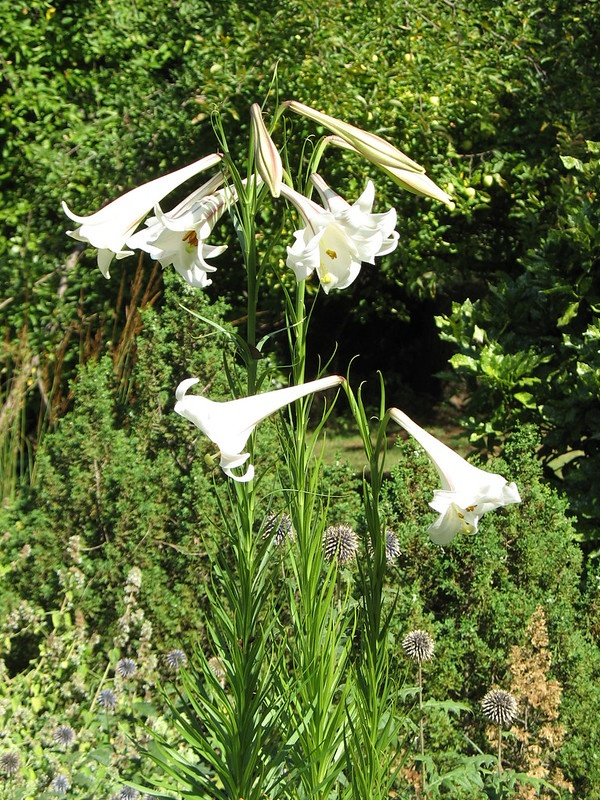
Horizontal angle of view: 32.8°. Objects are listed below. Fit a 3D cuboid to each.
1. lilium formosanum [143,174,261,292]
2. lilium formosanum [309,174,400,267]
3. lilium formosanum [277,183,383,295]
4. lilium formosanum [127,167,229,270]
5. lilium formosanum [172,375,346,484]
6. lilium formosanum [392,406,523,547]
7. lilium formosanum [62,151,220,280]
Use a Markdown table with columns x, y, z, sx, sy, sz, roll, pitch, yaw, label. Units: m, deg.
| x | y | z | sx | sy | sz | roll | pitch | yaw | label |
| --- | --- | --- | --- | --- | --- | --- | --- | --- | --- |
| -0.339 | -0.437 | 2.994 | 0.205 | 0.145 | 0.271 | 18 | -19 | -21 | lilium formosanum |
| 0.135 | -0.514 | 2.900 | 0.208 | 0.188 | 0.269 | -37 | 71 | -12 | lilium formosanum |
| 0.110 | -0.425 | 2.791 | 0.173 | 0.121 | 0.231 | -6 | 12 | 34 | lilium formosanum |
| -0.317 | -0.455 | 2.878 | 0.221 | 0.194 | 0.311 | 25 | -2 | -18 | lilium formosanum |
| -0.118 | 0.020 | 2.793 | 0.445 | 0.214 | 0.266 | -18 | 41 | -27 | lilium formosanum |
| 0.401 | 0.231 | 2.783 | 0.236 | 0.371 | 0.308 | -7 | 26 | -31 | lilium formosanum |
| -0.447 | -0.520 | 2.951 | 0.368 | 0.403 | 0.270 | 10 | 23 | 6 | lilium formosanum |
